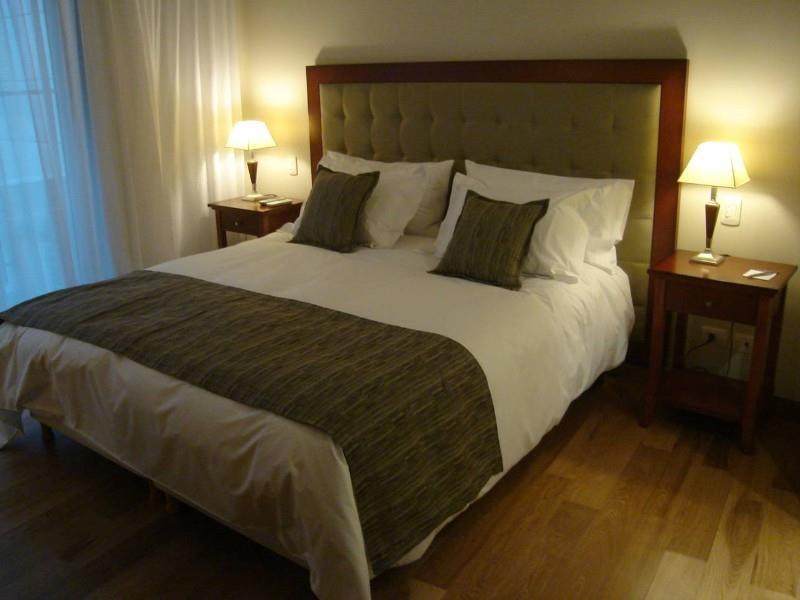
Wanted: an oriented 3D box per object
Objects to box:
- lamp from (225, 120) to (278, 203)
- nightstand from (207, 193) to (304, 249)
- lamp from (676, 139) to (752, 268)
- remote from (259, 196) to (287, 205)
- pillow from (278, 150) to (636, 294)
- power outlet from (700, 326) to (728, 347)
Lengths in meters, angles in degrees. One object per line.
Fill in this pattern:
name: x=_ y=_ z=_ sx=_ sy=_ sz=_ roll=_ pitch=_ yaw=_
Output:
lamp: x=-1.178 y=-1.106 z=4.789 sx=0.308 sy=0.567 sz=0.343 roll=5 pitch=18 yaw=13
nightstand: x=-1.154 y=-0.508 z=4.841 sx=0.584 sy=0.602 sz=0.488 roll=16 pitch=26 yaw=29
lamp: x=1.675 y=-0.527 z=3.211 sx=0.295 sy=0.620 sz=0.349 roll=17 pitch=24 yaw=36
remote: x=-0.997 y=-0.772 z=4.692 sx=0.117 sy=0.030 sz=0.123 roll=14 pitch=24 yaw=37
pillow: x=0.468 y=-0.547 z=3.632 sx=1.715 sy=0.514 sz=0.537 roll=12 pitch=21 yaw=24
power outlet: x=1.834 y=0.216 z=3.474 sx=0.096 sy=0.097 sz=0.023 roll=7 pitch=19 yaw=40
